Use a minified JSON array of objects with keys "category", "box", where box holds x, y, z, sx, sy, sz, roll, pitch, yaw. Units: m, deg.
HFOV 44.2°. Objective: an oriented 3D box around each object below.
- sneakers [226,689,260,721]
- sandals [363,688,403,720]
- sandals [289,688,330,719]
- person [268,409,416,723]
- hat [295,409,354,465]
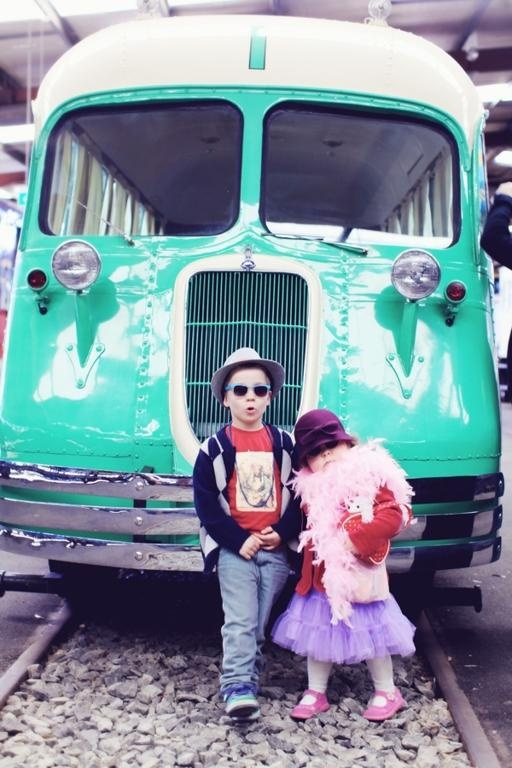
[{"category":"sneakers","box":[-0.048,0.989,1.915,0.063,0.062,0.140,0,-7,4]},{"category":"sandals","box":[0.426,1.084,2.124,0.067,0.068,0.161,-26,-18,22]},{"category":"sandals","box":[0.185,1.087,2.142,0.055,0.065,0.147,-9,-16,27]},{"category":"person","box":[0.284,0.609,2.123,0.479,1.049,0.328,1,-4,14]},{"category":"hat","box":[0.219,0.179,2.132,0.159,0.110,0.198,-21,-5,-2]}]
